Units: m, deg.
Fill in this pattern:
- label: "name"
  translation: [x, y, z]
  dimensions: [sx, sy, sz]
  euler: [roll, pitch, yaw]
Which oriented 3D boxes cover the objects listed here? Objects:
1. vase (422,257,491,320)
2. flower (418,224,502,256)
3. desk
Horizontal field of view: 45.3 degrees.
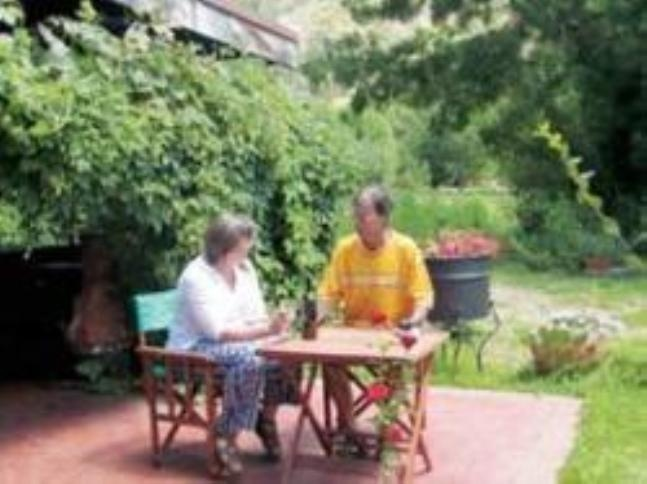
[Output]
- label: "vase"
  translation: [1.508, 0.529, 8.932]
  dimensions: [0.796, 0.672, 0.773]
  euler: [-3, 2, 12]
- label: "flower"
  translation: [1.568, 0.026, 8.887]
  dimensions: [0.551, 0.212, 0.486]
  euler: [-3, 4, -3]
- label: "desk"
  translation: [0.324, 1.058, 5.953]
  dimensions: [1.222, 0.989, 1.211]
  euler: [3, 8, 14]
